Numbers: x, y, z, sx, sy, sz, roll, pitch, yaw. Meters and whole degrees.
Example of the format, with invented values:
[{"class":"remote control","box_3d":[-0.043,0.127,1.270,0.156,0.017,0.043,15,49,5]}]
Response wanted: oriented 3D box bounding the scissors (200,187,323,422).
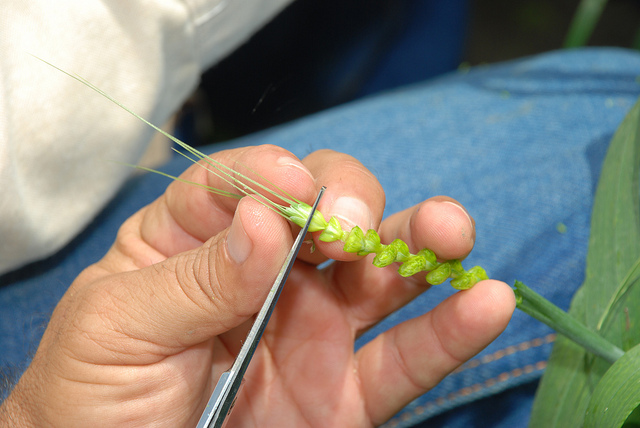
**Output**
[{"class":"scissors","box_3d":[-0.124,0.195,1.318,0.042,0.393,0.374,22,-19,1]}]
